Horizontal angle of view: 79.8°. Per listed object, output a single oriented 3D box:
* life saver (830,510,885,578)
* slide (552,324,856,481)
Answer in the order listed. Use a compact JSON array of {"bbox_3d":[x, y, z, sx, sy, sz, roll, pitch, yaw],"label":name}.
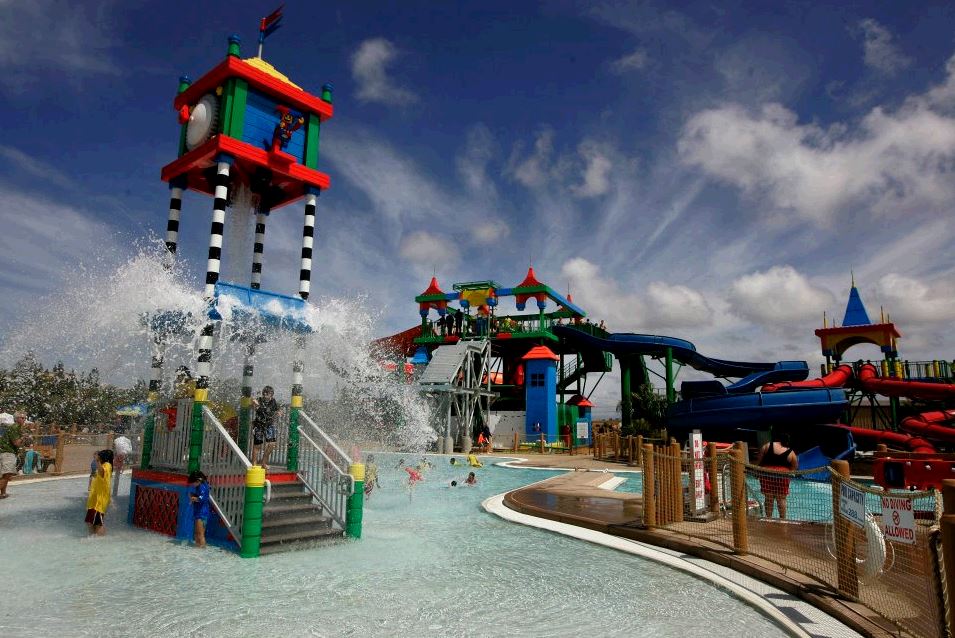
[{"bbox_3d":[6.376,3.709,9.501,0.502,1.414,1.235,-5,17,23],"label":"life saver"},{"bbox_3d":[10.871,3.667,27.882,11.491,4.873,8.221,-6,-9,34],"label":"slide"}]
